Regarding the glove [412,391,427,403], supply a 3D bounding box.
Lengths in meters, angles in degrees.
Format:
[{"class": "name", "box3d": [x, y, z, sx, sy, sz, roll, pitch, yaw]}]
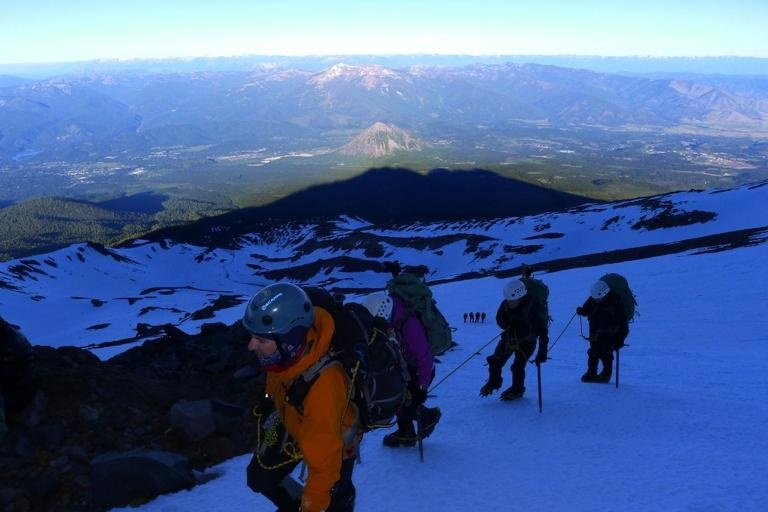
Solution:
[{"class": "glove", "box3d": [1.121, 4.413, 20.169, 0.541, 0.253, 0.447, 1, -6, 17]}]
